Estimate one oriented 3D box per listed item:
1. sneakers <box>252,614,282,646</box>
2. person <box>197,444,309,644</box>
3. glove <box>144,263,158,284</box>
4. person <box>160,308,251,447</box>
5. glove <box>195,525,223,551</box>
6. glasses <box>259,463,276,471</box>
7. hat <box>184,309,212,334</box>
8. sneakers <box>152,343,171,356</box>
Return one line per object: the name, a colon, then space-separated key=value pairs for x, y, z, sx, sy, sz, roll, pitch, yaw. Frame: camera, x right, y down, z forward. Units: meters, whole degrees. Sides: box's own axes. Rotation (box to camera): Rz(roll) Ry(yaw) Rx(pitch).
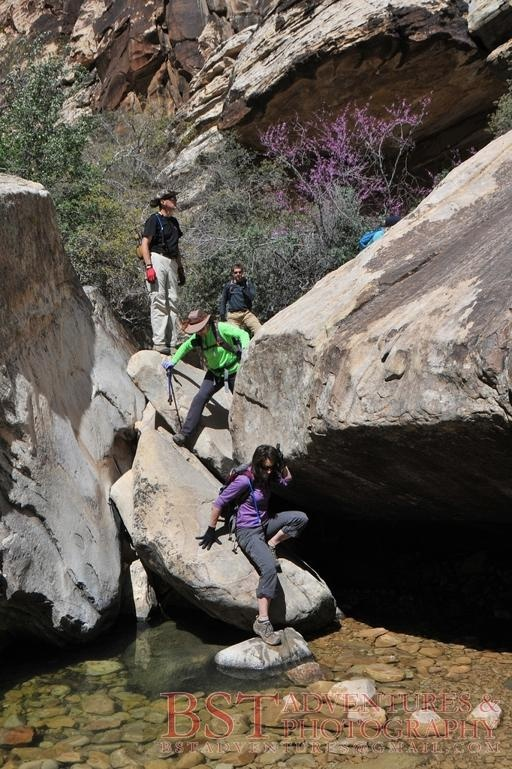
sneakers: x=0.068 y=1.654 z=5.080 sx=0.088 sy=0.100 sz=0.225 roll=13 pitch=0 yaw=-41
person: x=0.020 y=1.032 z=5.365 sx=0.896 sy=0.973 sz=1.282 roll=0 pitch=29 yaw=-10
glove: x=-1.021 y=-1.051 z=7.261 sx=0.058 sy=0.143 sz=0.106 roll=-9 pitch=-8 yaw=1
person: x=-0.383 y=-0.077 z=6.564 sx=0.876 sy=1.123 sz=0.718 roll=-5 pitch=-3 yaw=-41
glove: x=-0.354 y=1.139 z=5.599 sx=0.174 sy=0.175 sz=0.051 roll=32 pitch=-4 yaw=27
glasses: x=0.084 y=0.583 z=5.345 sx=0.071 sy=0.052 sz=0.071 roll=-7 pitch=28 yaw=30
hat: x=-0.503 y=-0.551 z=6.485 sx=0.191 sy=0.088 sz=0.225 roll=-38 pitch=11 yaw=21
sneakers: x=-0.962 y=-0.349 z=7.622 sx=0.174 sy=0.090 sz=0.115 roll=4 pitch=-19 yaw=-31
